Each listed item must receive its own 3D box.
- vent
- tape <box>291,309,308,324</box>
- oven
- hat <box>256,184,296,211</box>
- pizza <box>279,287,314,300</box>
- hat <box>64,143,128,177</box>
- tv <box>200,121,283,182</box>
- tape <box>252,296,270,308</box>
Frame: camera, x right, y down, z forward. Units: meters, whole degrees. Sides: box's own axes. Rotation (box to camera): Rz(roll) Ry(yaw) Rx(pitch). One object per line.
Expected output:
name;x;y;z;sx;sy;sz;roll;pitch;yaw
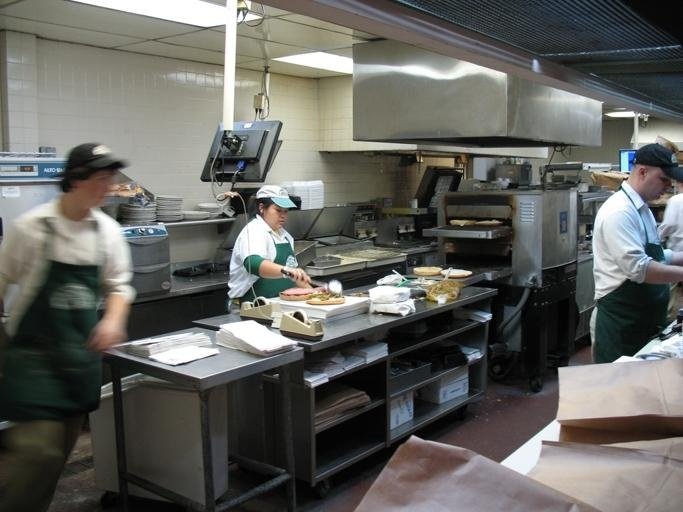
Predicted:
vent;1.101;-1.405;4.534;1.384;0.830;1.473;7;11;36
tape;-0.237;0.341;2.920;0.040;0.059;0.130;-4;6;-38
oven;1.648;-0.216;5.275;1.074;0.728;1.459;3;9;41
hat;-0.509;-0.442;3.785;0.285;0.103;0.179;8;7;23
pizza;-0.288;0.252;3.359;0.223;0.047;0.164;1;9;4
hat;-1.146;-0.439;2.345;0.258;0.097;0.169;-8;7;10
tv;-0.689;-0.737;3.635;0.461;0.430;0.390;-8;13;-39
tape;-0.513;0.290;3.251;0.083;0.065;0.015;-2;6;44
